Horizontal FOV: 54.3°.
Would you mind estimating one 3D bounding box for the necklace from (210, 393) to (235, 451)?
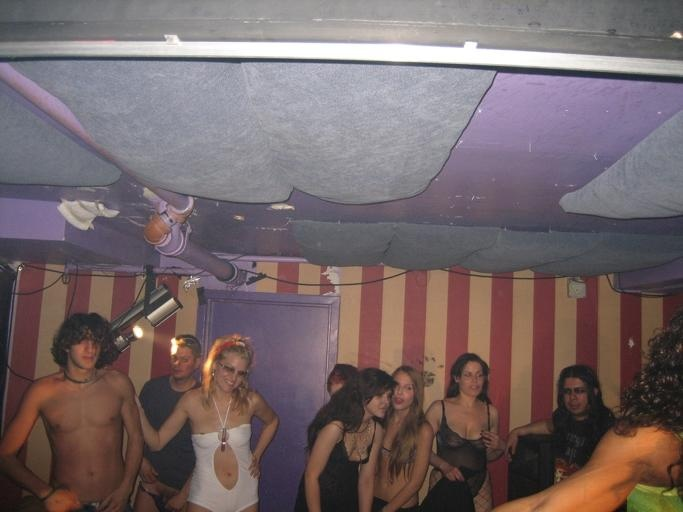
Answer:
[{"bbox_3d":[-1.127,1.569,6.215,0.176,0.447,0.151,6,-10,-10],"label":"necklace"}]

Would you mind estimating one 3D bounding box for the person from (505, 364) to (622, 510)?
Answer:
[{"bbox_3d":[1.927,1.594,5.887,0.863,1.499,0.946,9,-26,-1],"label":"person"}]

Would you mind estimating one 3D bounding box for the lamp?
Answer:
[{"bbox_3d":[-2.265,0.734,7.178,0.417,0.251,0.881,-3,21,47],"label":"lamp"}]

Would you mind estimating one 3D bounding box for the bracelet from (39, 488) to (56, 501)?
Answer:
[{"bbox_3d":[-2.523,2.055,5.757,0.067,0.111,0.155,-1,-12,29],"label":"bracelet"}]
